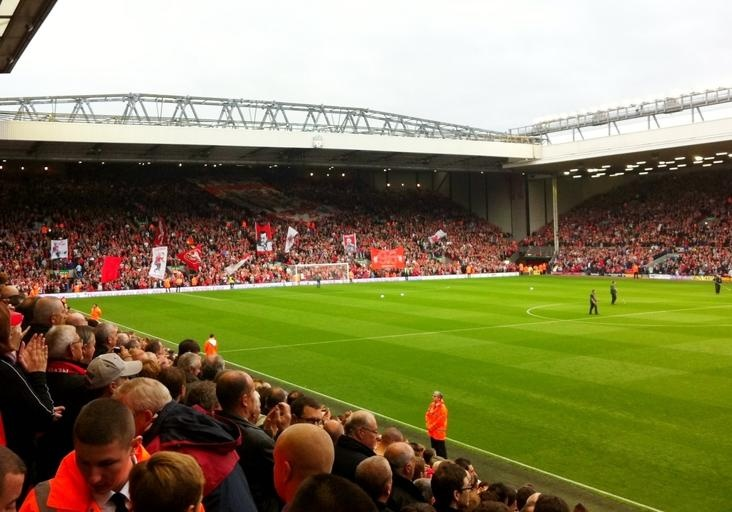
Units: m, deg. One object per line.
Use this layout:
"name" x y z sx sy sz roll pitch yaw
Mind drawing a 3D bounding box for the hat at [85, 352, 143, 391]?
"hat" -2.727 1.181 7.455 0.611 0.279 0.382 -12 16 -35
